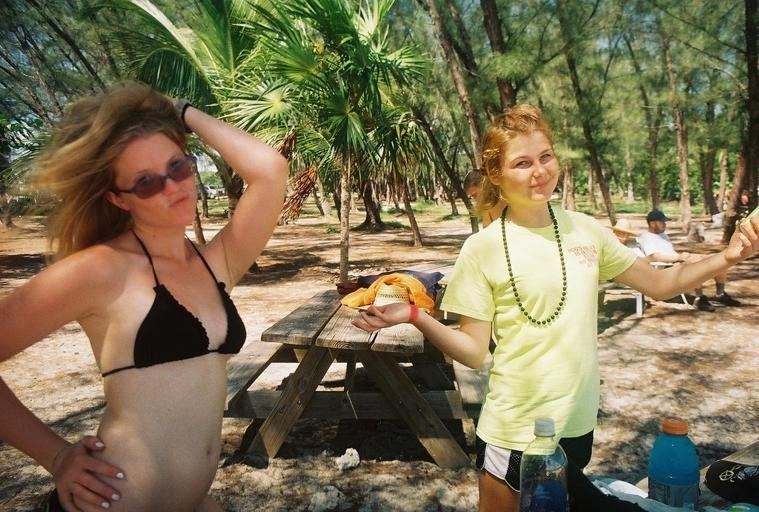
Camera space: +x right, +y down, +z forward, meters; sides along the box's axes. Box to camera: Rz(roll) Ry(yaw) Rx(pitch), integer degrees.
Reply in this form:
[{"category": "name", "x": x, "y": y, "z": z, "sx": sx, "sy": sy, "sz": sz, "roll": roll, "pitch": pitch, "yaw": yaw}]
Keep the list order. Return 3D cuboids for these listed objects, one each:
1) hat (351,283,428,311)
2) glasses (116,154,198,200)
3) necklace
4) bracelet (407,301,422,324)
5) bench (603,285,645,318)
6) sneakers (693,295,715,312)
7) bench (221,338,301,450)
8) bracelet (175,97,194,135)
[{"category": "hat", "x": 0.079, "y": 0.313, "z": 4.573, "sx": 0.420, "sy": 0.141, "sz": 0.384, "roll": -2, "pitch": -1, "yaw": -10}, {"category": "glasses", "x": -0.859, "y": -0.287, "z": 2.078, "sx": 0.208, "sy": 0.058, "sz": 0.206, "roll": -30, "pitch": 23, "yaw": -33}, {"category": "necklace", "x": 0.661, "y": 0.037, "z": 2.323, "sx": 0.272, "sy": 0.475, "sz": 0.307, "roll": -1, "pitch": 14, "yaw": 11}, {"category": "bracelet", "x": 0.151, "y": 0.245, "z": 2.211, "sx": 0.060, "sy": 0.068, "sz": 0.074, "roll": 4, "pitch": 3, "yaw": -17}, {"category": "bench", "x": 3.644, "y": 0.707, "z": 8.056, "sx": 0.679, "sy": 0.358, "sz": 0.866, "roll": 1, "pitch": 5, "yaw": 27}, {"category": "sneakers", "x": 5.058, "y": 0.752, "z": 8.369, "sx": 0.176, "sy": 0.144, "sz": 0.370, "roll": -2, "pitch": -1, "yaw": -1}, {"category": "bench", "x": -0.972, "y": 1.102, "z": 4.519, "sx": 0.166, "sy": 0.687, "sz": 0.748, "roll": 24, "pitch": -15, "yaw": -33}, {"category": "bracelet", "x": -0.823, "y": -0.590, "z": 2.233, "sx": 0.056, "sy": 0.120, "sz": 0.108, "roll": 7, "pitch": 4, "yaw": 13}]
